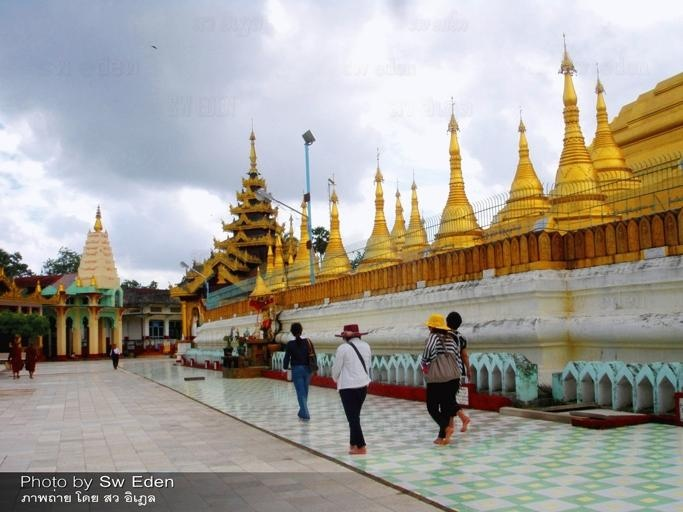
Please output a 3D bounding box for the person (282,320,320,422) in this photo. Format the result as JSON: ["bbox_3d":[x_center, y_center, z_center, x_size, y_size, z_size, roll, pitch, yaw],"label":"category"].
[{"bbox_3d":[-0.783,2.066,11.586,0.524,1.691,1.133,-2,-7,-4],"label":"person"}]

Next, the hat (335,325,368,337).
[{"bbox_3d":[0.028,1.076,9.136,0.462,0.154,0.464,0,-8,-6],"label":"hat"}]

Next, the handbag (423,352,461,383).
[{"bbox_3d":[1.181,1.583,8.942,0.642,0.570,0.352,-1,-13,2],"label":"handbag"}]

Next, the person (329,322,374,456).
[{"bbox_3d":[0.066,1.814,8.813,0.470,1.708,0.749,-3,-7,1],"label":"person"}]
